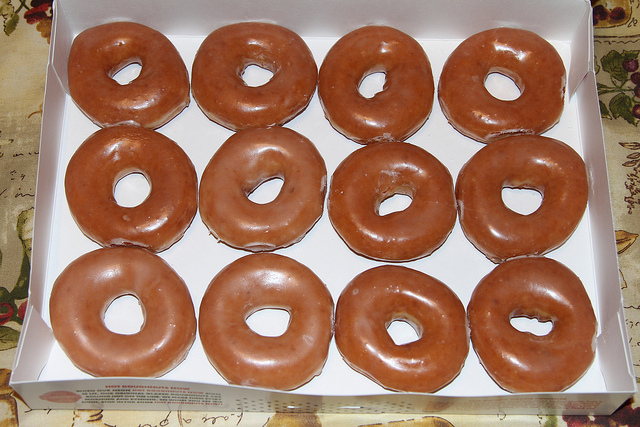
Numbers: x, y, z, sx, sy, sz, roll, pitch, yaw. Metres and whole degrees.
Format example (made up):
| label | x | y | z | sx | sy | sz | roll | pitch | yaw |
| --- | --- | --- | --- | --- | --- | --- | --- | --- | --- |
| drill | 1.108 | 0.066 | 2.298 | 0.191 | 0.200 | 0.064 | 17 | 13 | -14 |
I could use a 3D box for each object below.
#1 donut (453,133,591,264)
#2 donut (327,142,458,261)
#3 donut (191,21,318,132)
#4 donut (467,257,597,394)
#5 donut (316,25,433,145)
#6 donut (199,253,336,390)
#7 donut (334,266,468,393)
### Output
| label | x | y | z | sx | sy | sz | roll | pitch | yaw |
| --- | --- | --- | --- | --- | --- | --- | --- | --- | --- |
| donut | 0.790 | -0.070 | 2.332 | 0.490 | 0.564 | 0.198 | -19 | -39 | 14 |
| donut | 0.259 | -0.047 | 2.251 | 0.450 | 0.418 | 0.141 | -1 | 6 | 2 |
| donut | -0.249 | -0.525 | 2.372 | 0.456 | 0.398 | 0.186 | -2 | 6 | -12 |
| donut | 0.738 | 0.385 | 2.165 | 0.423 | 0.439 | 0.183 | -2 | 6 | -10 |
| donut | 0.210 | -0.495 | 2.366 | 0.440 | 0.453 | 0.179 | -1 | 6 | -1 |
| donut | -0.186 | 0.391 | 2.218 | 0.490 | 0.499 | 0.189 | -6 | -33 | 0 |
| donut | 0.277 | 0.395 | 2.160 | 0.456 | 0.402 | 0.170 | 1 | 6 | 13 |
